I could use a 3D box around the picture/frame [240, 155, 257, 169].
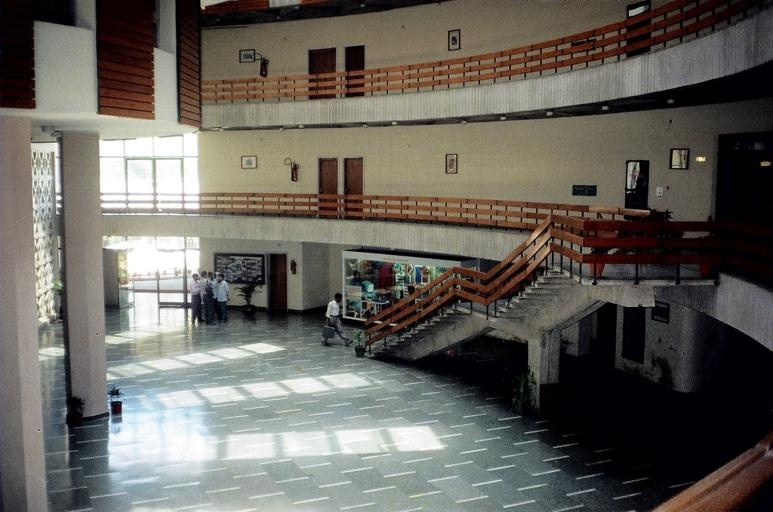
[{"bbox_3d":[-6.481,-4.416,26.960,0.689,0.566,0.070,2,-1,15],"label":"picture/frame"}]

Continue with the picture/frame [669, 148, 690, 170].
[{"bbox_3d":[8.991,-2.962,17.601,0.056,0.800,0.722,6,-1,-38],"label":"picture/frame"}]

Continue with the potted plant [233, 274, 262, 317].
[{"bbox_3d":[-6.526,1.862,27.220,1.344,1.836,1.290,-4,11,-43],"label":"potted plant"}]

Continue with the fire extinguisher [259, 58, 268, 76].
[{"bbox_3d":[-5.604,-8.580,26.172,0.453,0.801,0.114,1,11,9],"label":"fire extinguisher"}]

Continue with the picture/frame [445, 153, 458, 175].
[{"bbox_3d":[2.625,-3.707,23.159,0.635,0.839,0.112,8,13,36],"label":"picture/frame"}]

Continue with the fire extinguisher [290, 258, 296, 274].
[{"bbox_3d":[-4.400,0.529,27.140,0.316,0.634,0.118,4,12,24],"label":"fire extinguisher"}]

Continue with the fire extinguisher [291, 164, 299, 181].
[{"bbox_3d":[-4.201,-3.784,26.323,0.363,0.786,0.136,-3,11,-12],"label":"fire extinguisher"}]

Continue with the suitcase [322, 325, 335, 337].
[{"bbox_3d":[-2.276,2.937,22.240,0.376,0.467,0.656,8,0,-3],"label":"suitcase"}]

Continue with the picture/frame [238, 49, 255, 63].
[{"bbox_3d":[-6.417,-9.166,26.384,0.885,0.621,0.185,5,12,25],"label":"picture/frame"}]
